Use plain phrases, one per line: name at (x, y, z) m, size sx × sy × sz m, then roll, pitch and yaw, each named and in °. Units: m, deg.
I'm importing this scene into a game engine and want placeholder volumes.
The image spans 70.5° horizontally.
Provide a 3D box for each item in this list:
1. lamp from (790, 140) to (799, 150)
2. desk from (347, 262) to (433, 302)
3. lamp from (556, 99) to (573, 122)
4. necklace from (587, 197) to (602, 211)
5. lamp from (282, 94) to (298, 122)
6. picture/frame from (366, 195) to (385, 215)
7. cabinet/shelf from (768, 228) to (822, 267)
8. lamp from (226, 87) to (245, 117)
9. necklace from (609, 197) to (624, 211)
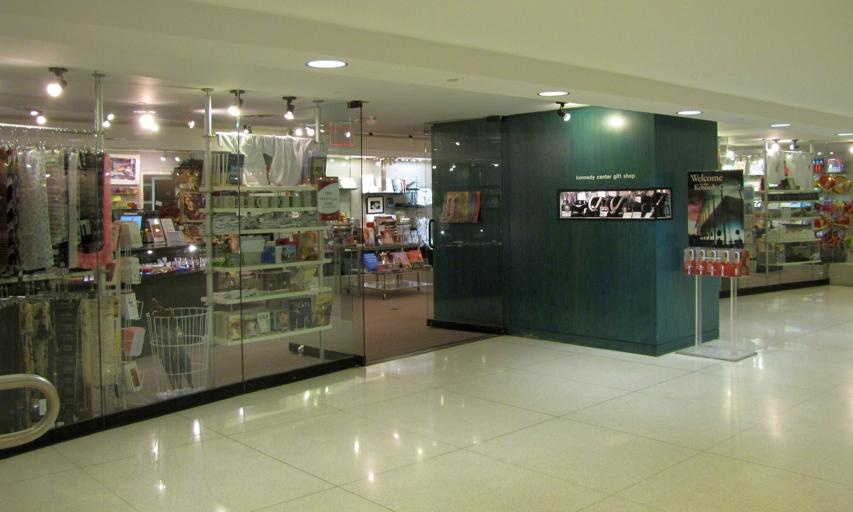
lamp at (8.360, -2.527, 13.741) m, size 0.182 × 0.243 × 0.640 m, roll 4°, pitch 11°, yaw 31°
desk at (-0.687, 0.570, 13.997) m, size 0.975 × 0.483 × 1.392 m, roll 2°, pitch 4°, yaw 38°
lamp at (2.019, -2.113, 8.861) m, size 0.190 × 0.247 × 0.597 m, roll 1°, pitch 10°, yaw 14°
necklace at (2.496, -0.775, 8.936) m, size 0.078 × 0.195 × 0.147 m, roll 6°, pitch 1°, yaw -41°
lamp at (-1.724, -1.862, 7.631) m, size 0.238 × 0.358 × 0.249 m, roll 11°, pitch 14°, yaw 37°
picture/frame at (-1.254, -1.236, 14.513) m, size 0.512 × 0.392 × 0.037 m, roll 2°, pitch -12°, yaw -44°
cabinet/shelf at (8.602, -0.246, 14.360) m, size 1.306 × 0.856 × 0.668 m, roll -3°, pitch 3°, yaw 9°
lamp at (-2.261, -1.812, 7.171) m, size 0.201 × 0.309 × 0.157 m, roll -5°, pitch 10°, yaw -18°
necklace at (2.756, -0.765, 8.768) m, size 0.045 × 0.178 × 0.188 m, roll 13°, pitch 0°, yaw -41°
